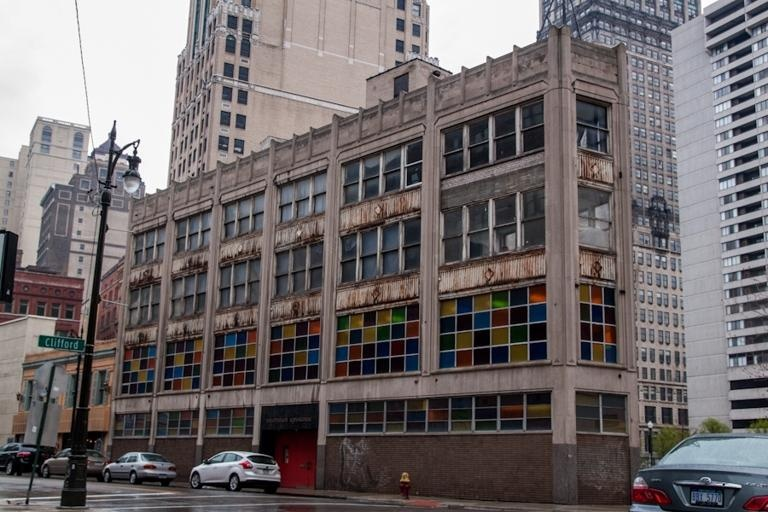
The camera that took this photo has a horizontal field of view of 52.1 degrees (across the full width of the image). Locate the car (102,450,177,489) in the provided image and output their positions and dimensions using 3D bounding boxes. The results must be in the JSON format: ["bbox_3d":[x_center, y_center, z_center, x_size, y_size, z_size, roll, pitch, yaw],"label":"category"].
[{"bbox_3d":[-15.758,13.569,49.997,4.722,1.510,2.178,-8,-17,42],"label":"car"}]

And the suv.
[{"bbox_3d":[-8.509,12.211,44.675,4.603,2.123,1.612,-8,-23,19],"label":"suv"}]
